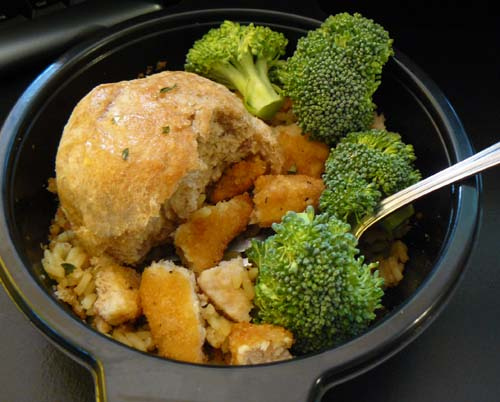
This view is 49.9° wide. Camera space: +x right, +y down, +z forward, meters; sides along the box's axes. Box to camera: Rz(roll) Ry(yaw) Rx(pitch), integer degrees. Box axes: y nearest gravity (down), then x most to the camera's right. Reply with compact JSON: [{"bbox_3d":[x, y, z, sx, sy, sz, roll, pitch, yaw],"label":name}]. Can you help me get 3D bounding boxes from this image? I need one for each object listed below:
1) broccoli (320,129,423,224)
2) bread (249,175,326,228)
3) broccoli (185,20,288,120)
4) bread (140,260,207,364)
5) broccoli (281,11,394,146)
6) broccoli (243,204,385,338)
[{"bbox_3d":[0.401,-0.101,1.793,0.275,0.172,0.350,6,61,32],"label":"broccoli"},{"bbox_3d":[0.113,-0.013,1.770,0.216,0.072,0.158,-7,74,2],"label":"bread"},{"bbox_3d":[-0.055,-0.465,1.920,0.295,0.247,0.279,40,108,9],"label":"broccoli"},{"bbox_3d":[-0.227,0.324,1.681,0.167,0.081,0.319,-17,85,18],"label":"bread"},{"bbox_3d":[0.281,-0.441,1.916,0.403,0.160,0.523,1,55,21],"label":"broccoli"},{"bbox_3d":[0.194,0.224,1.650,0.396,0.234,0.359,-7,70,-2],"label":"broccoli"}]
